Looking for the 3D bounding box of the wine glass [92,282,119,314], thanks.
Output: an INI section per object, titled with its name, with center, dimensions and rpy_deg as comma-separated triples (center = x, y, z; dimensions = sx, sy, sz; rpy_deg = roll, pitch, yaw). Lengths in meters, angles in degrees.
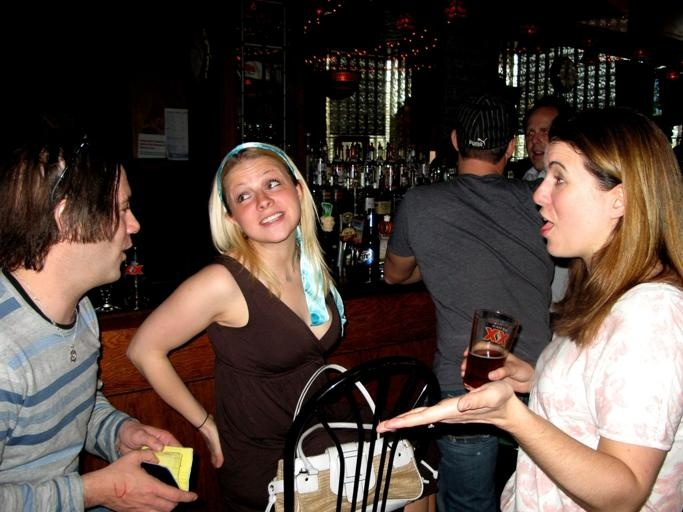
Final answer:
[wine glass]
center = -1.152, 0.198, 2.617
dimensions = 0.153, 0.159, 0.150
rpy_deg = 0, -2, -1
